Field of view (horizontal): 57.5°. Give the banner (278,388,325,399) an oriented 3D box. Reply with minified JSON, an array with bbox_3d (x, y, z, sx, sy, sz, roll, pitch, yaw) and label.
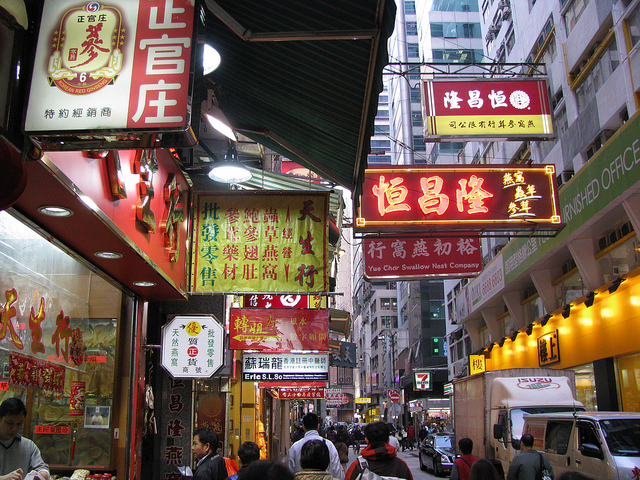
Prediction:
[{"bbox_3d":[-0.899,6.759,25.691,1.971,0.401,1.267,-6,-19,12],"label":"banner"}]

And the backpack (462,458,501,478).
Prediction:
[{"bbox_3d":[2.320,3.251,8.250,0.400,0.246,0.297,-4,-18,5],"label":"backpack"}]

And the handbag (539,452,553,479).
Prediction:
[{"bbox_3d":[3.453,3.488,8.942,0.068,0.362,0.278,-17,-24,42],"label":"handbag"}]

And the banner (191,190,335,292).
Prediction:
[{"bbox_3d":[-0.977,0.060,9.785,1.608,1.343,0.074,0,-21,3],"label":"banner"}]
